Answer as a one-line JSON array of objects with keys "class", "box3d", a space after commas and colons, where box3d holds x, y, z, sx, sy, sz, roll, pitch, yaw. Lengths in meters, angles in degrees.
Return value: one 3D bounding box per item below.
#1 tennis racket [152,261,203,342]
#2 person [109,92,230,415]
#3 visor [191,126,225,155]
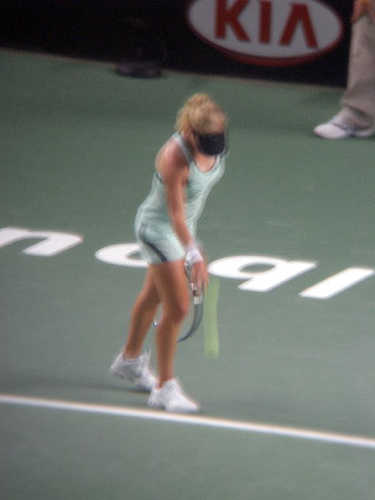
[{"class": "tennis racket", "box3d": [0.017, 0.172, 1.528, 0.180, 0.241, 0.202, -7, 27, -5]}, {"class": "person", "box3d": [-0.050, 0.021, 1.488, 0.284, 0.929, 0.345, -2, 17, -20]}, {"class": "visor", "box3d": [0.063, -0.294, 1.342, 0.085, 0.065, 0.073, -16, 30, -21]}]
